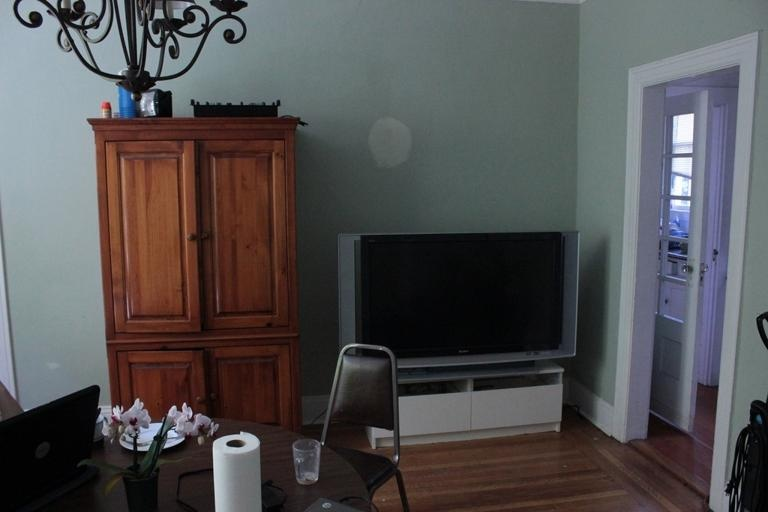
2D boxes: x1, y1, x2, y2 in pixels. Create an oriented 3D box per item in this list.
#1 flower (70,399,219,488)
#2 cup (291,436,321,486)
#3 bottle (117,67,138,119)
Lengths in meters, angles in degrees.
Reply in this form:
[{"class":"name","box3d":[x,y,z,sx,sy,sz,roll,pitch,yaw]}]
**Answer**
[{"class":"flower","box3d":[-1.041,0.836,2.782,0.543,0.347,0.538,10,-7,-27]},{"class":"cup","box3d":[-0.383,0.976,3.076,0.188,0.205,0.184,0,9,0]},{"class":"bottle","box3d":[-1.826,-1.072,4.366,0.096,0.213,0.242,-10,11,-40]}]
